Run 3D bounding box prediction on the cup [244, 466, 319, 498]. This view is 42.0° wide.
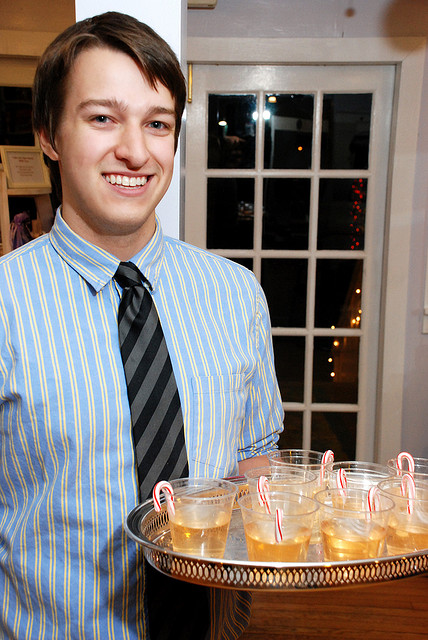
[{"bbox_3d":[0.104,0.246,0.853,0.073,0.056,0.076,0,-3,0],"label":"cup"}]

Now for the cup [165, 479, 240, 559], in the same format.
[{"bbox_3d":[-0.019,0.265,0.738,0.089,0.093,0.105,1,9,2],"label":"cup"}]

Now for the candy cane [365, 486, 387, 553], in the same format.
[{"bbox_3d":[0.222,0.271,0.755,0.031,0.087,0.009,9,-18,-37],"label":"candy cane"}]

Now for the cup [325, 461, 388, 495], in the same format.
[{"bbox_3d":[0.232,0.238,0.888,0.061,0.052,0.070,0,-2,3],"label":"cup"}]

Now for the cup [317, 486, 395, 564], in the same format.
[{"bbox_3d":[0.181,0.274,0.733,0.105,0.084,0.109,2,-3,0],"label":"cup"}]

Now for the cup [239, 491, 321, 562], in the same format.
[{"bbox_3d":[0.089,0.254,0.716,0.094,0.075,0.101,0,-6,0],"label":"cup"}]
